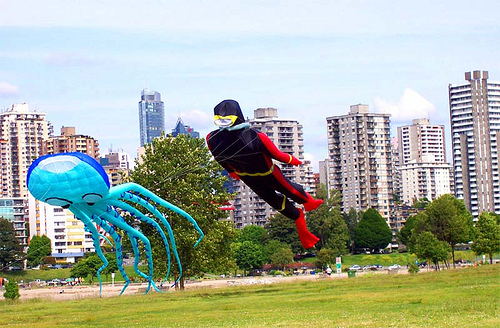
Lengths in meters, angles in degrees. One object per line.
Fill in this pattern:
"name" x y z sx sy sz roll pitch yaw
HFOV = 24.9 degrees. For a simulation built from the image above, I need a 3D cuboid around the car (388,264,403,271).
"car" 32.915 23.593 256.007 3.168 1.450 1.946 3 -4 3
